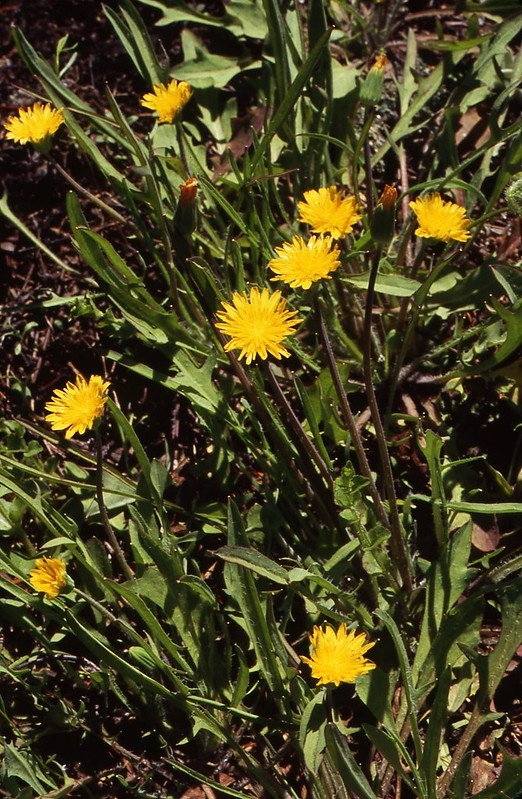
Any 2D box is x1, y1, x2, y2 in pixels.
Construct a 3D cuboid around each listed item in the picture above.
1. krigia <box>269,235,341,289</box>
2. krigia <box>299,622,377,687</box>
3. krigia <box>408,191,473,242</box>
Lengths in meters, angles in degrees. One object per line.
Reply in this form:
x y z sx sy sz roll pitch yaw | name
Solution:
0.067 -0.214 1.076 0.102 0.065 0.133 -19 21 1 | krigia
0.105 0.364 1.012 0.114 0.053 0.115 20 6 22 | krigia
0.319 -0.319 1.228 0.084 0.111 0.171 -11 23 20 | krigia
